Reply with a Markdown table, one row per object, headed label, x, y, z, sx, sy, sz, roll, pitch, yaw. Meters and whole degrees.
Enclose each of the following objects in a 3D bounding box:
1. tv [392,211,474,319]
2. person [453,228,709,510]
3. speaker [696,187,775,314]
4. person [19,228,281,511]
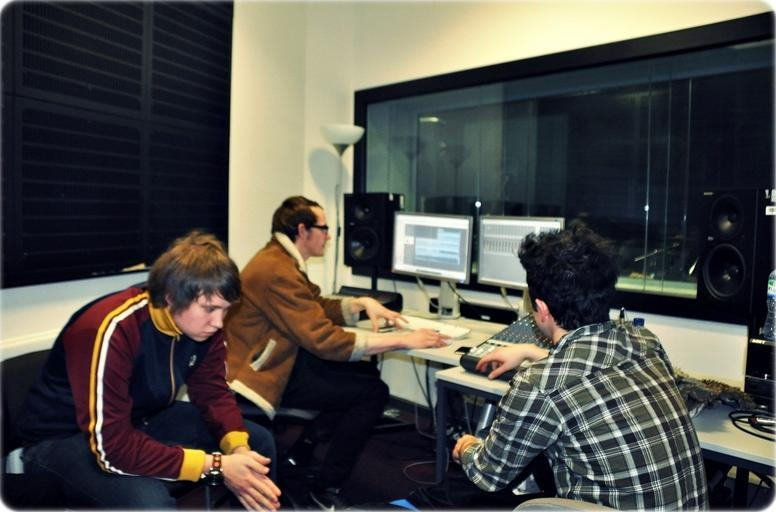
| label | x | y | z | sx | sy | sz | roll | pitch | yaw |
| --- | --- | --- | --- | --- | --- | --- | --- | --- | --- |
| tv | 0.301 | 0.044 | 3.565 | 0.737 | 0.786 | 0.345 | 2 | 3 | 41 |
| person | 0.713 | 0.399 | 2.025 | 0.853 | 0.987 | 0.421 | 2 | 10 | 25 |
| speaker | 1.647 | -0.019 | 2.596 | 0.109 | 0.599 | 0.303 | -10 | 12 | -41 |
| person | -1.084 | 0.431 | 3.124 | 1.525 | 1.881 | 0.890 | 7 | 7 | 14 |
